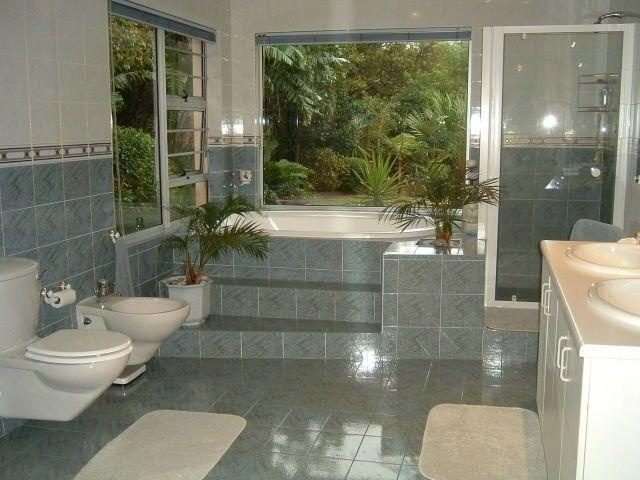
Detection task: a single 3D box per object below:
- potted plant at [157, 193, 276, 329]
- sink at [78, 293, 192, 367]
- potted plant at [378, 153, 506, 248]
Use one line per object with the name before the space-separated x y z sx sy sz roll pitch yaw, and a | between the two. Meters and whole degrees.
potted plant | -0.952 0.177 4.199 1.068 1.072 0.874 2 3 20
sink | -1.317 0.663 3.512 0.735 0.420 0.501 3 7 -2
potted plant | 1.042 -0.325 4.416 1.170 0.765 1.134 -1 3 -3
